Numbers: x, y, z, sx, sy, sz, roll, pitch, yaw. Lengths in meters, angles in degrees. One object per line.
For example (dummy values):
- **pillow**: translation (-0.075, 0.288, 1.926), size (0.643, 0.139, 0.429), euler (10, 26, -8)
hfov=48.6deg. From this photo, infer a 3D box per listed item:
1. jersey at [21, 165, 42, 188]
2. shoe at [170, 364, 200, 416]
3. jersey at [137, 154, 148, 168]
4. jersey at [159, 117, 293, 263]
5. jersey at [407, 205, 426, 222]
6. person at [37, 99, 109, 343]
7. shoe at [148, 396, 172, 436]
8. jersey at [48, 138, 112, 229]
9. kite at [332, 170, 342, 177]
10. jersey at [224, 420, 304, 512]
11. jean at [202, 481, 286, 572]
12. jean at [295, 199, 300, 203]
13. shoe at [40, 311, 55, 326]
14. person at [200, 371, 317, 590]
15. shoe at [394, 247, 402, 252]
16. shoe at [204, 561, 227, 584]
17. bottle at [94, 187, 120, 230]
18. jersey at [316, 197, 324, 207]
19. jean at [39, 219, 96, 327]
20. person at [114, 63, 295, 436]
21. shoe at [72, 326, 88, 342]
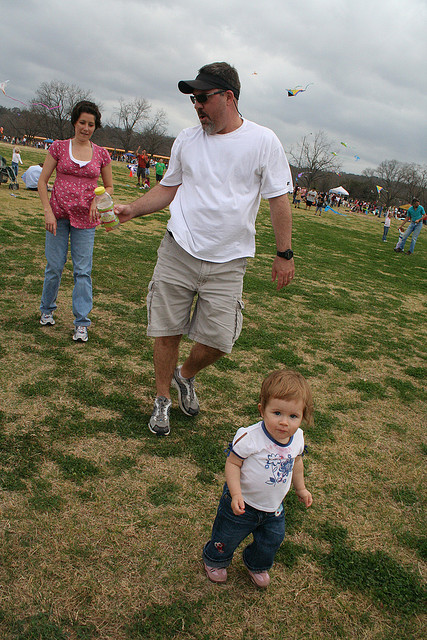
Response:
- **jersey**: translation (-4.037, -3.189, 10.586), size (0.328, 0.504, 0.772), euler (2, 17, -23)
- **shoe**: translation (-0.169, 0.463, 3.099), size (0.205, 0.302, 0.145), euler (8, 15, -1)
- **jersey**: translation (-2.651, -6.004, 17.932), size (0.295, 0.460, 0.477), euler (5, 16, -12)
- **jersey**: translation (0.062, -0.730, 2.665), size (0.735, 0.781, 0.357), euler (10, 15, 2)
- **jersey**: translation (6.110, -3.222, 14.371), size (0.363, 0.498, 1.083), euler (11, 16, 8)
- **person**: translation (-1.116, -0.758, 3.727), size (0.513, 1.812, 0.427), euler (5, 15, -15)
- **shoe**: translation (-0.303, 0.570, 2.798), size (0.094, 0.113, 0.244), euler (8, 30, -11)
- **jersey**: translation (-1.069, -1.077, 3.760), size (0.458, 0.644, 0.250), euler (7, 11, -6)
- **kite**: translation (23.151, -27.583, 88.743), size (1.855, 0.207, 0.658), euler (51, 26, 2)
- **jersey**: translation (0.220, 0.579, 1.876), size (0.328, 0.323, 0.184), euler (6, 6, -19)
- **jean**: translation (0.134, 0.825, 1.909), size (0.297, 0.402, 0.167), euler (9, 13, -11)
- **jean**: translation (6.063, -8.534, 34.091), size (0.338, 0.123, 0.467), euler (9, 7, 30)
- **shoe**: translation (-1.378, 0.000, 3.969), size (0.056, 0.071, 0.156), euler (2, 15, -12)
- **person**: translation (0.256, 0.638, 1.950), size (0.570, 0.895, 0.283), euler (-3, 19, -38)
- **shoe**: translation (6.082, -2.297, 15.574), size (0.227, 0.172, 0.086), euler (12, 17, 10)
- **shoe**: translation (0.018, 1.012, 1.899), size (0.046, 0.046, 0.108), euler (1, -1, -20)
- **bottle**: translation (-0.670, -0.708, 3.023), size (0.154, 0.250, 0.238), euler (5, 16, -14)
- **jersey**: translation (5.773, -6.339, 25.566), size (0.282, 0.502, 1.492), euler (11, 16, 9)
- **jean**: translation (-1.189, -0.367, 3.910), size (0.445, 0.909, 0.358), euler (7, 15, -5)
- **person**: translation (-0.026, -0.342, 2.727), size (0.970, 2.078, 0.503), euler (10, 15, 4)
- **shoe**: translation (-1.071, 0.109, 3.855), size (0.118, 0.105, 0.129), euler (4, 16, -19)
